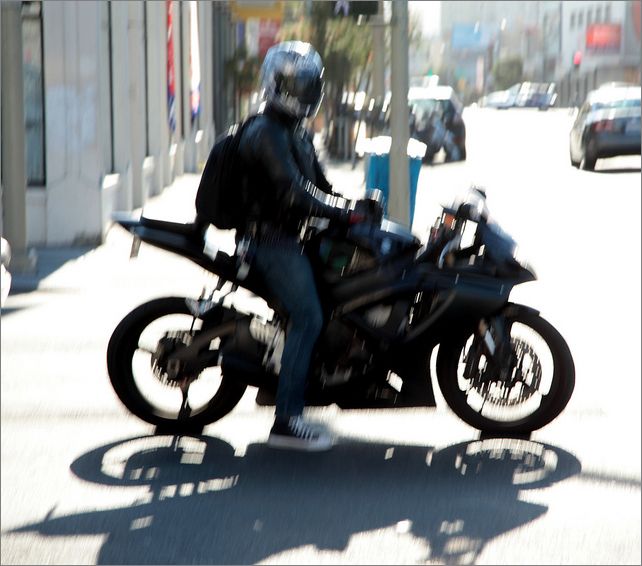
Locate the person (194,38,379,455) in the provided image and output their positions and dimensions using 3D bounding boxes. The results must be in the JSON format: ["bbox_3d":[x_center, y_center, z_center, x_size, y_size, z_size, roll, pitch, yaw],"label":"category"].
[{"bbox_3d":[-0.257,-0.511,5.577,1.248,3.728,1.158,-1,7,-4],"label":"person"}]

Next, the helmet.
[{"bbox_3d":[-0.157,-0.973,4.316,0.319,0.442,0.258,1,-10,41],"label":"helmet"}]

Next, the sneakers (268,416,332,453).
[{"bbox_3d":[-0.106,0.767,4.294,0.289,0.293,0.170,-2,1,-9],"label":"sneakers"}]

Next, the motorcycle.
[{"bbox_3d":[0.026,0.193,4.996,2.473,2.000,1.189,-1,2,2],"label":"motorcycle"}]
